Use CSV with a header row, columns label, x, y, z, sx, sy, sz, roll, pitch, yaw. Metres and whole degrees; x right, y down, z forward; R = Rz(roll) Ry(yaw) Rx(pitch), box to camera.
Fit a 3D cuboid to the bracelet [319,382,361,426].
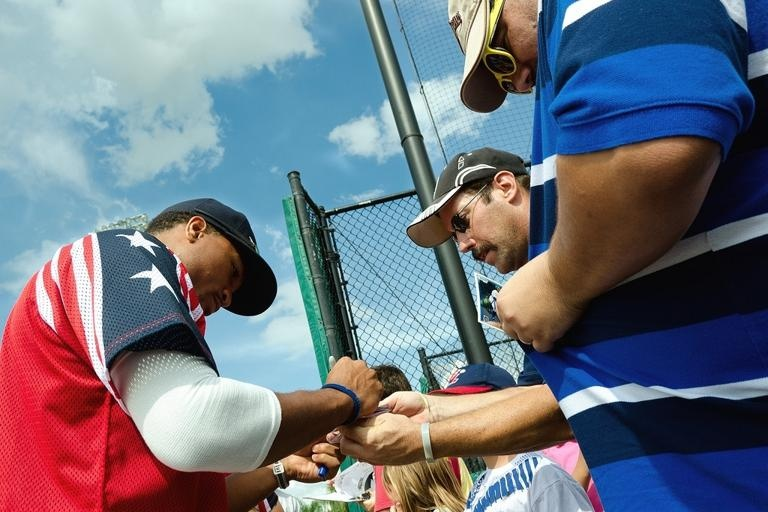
label,x,y,z,sx,sy,sz,roll,pitch,yaw
bracelet,-0.168,0.607,2.400,0.154,0.069,0.172,3,19,0
